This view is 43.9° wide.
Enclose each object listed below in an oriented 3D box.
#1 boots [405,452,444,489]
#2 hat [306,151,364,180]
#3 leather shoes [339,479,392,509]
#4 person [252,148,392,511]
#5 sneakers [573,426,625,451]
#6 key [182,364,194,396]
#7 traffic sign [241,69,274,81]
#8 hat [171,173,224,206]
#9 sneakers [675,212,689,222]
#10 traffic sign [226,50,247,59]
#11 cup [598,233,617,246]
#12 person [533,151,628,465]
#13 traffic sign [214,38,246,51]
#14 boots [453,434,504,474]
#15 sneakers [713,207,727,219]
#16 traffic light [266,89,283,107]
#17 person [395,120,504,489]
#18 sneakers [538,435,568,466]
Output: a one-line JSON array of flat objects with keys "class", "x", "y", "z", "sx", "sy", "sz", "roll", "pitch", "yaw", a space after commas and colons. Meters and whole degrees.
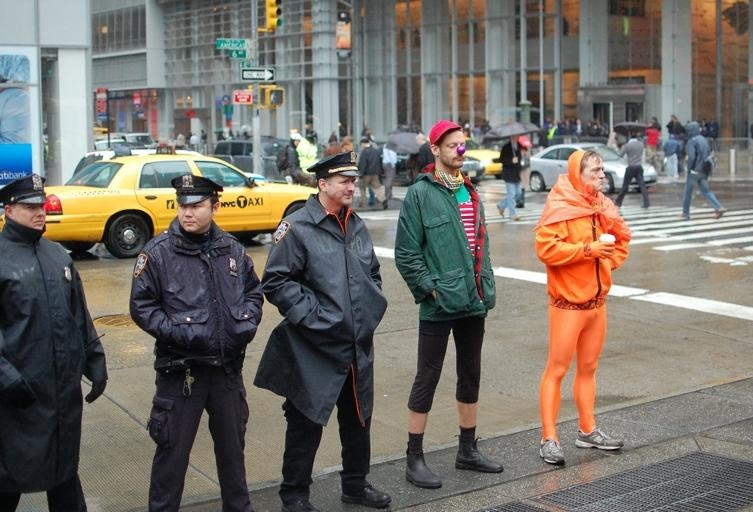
[{"class": "boots", "x": 0.391, "y": 1.778, "z": 7.857, "sx": 0.198, "sy": 0.266, "sz": 0.410, "roll": 2, "pitch": 2, "yaw": -39}, {"class": "hat", "x": -0.353, "y": -0.715, "z": 7.477, "sx": 0.273, "sy": 0.138, "sz": 0.249, "roll": 4, "pitch": 8, "yaw": 36}, {"class": "leather shoes", "x": -0.084, "y": 1.929, "z": 7.595, "sx": 0.383, "sy": 0.167, "sz": 0.184, "roll": 1, "pitch": 11, "yaw": 16}, {"class": "person", "x": -0.423, "y": 0.618, "z": 7.429, "sx": 1.025, "sy": 2.815, "sz": 0.577, "roll": -3, "pitch": 8, "yaw": -7}, {"class": "sneakers", "x": 2.002, "y": 1.639, "z": 8.375, "sx": 0.419, "sy": 0.200, "sz": 0.180, "roll": 3, "pitch": 1, "yaw": 5}, {"class": "key", "x": -1.414, "y": 0.942, "z": 7.022, "sx": 0.078, "sy": 0.214, "sz": 0.035, "roll": -2, "pitch": 8, "yaw": 1}, {"class": "traffic sign", "x": -3.216, "y": -4.869, "z": 25.330, "sx": 0.738, "sy": 0.347, "sz": 1.217, "roll": -2, "pitch": 9, "yaw": 2}, {"class": "hat", "x": -1.360, "y": -0.478, "z": 7.151, "sx": 0.250, "sy": 0.149, "sz": 0.289, "roll": -1, "pitch": 0, "yaw": 12}, {"class": "sneakers", "x": 7.059, "y": -0.871, "z": 21.480, "sx": 0.388, "sy": 0.173, "sz": 0.146, "roll": 6, "pitch": 11, "yaw": 30}, {"class": "traffic sign", "x": -3.744, "y": -5.440, "z": 25.396, "sx": 0.578, "sy": 0.190, "sz": 0.436, "roll": -7, "pitch": 10, "yaw": -30}, {"class": "cup", "x": 1.996, "y": -0.146, "z": 8.100, "sx": 0.131, "sy": 0.077, "sz": 0.193, "roll": 0, "pitch": 9, "yaw": 10}, {"class": "person", "x": 1.830, "y": 0.432, "z": 8.306, "sx": 0.908, "sy": 2.652, "sz": 0.675, "roll": -3, "pitch": 8, "yaw": -8}, {"class": "traffic sign", "x": -3.966, "y": -5.760, "z": 25.740, "sx": 0.802, "sy": 0.390, "sz": 1.305, "roll": -4, "pitch": 9, "yaw": -10}, {"class": "boots", "x": 0.852, "y": 1.717, "z": 8.096, "sx": 0.516, "sy": 0.363, "sz": 0.196, "roll": 1, "pitch": 4, "yaw": 7}, {"class": "sneakers", "x": 7.923, "y": -0.953, "z": 21.628, "sx": 0.210, "sy": 0.175, "sz": 0.490, "roll": 41, "pitch": -1, "yaw": 8}, {"class": "traffic light", "x": -2.935, "y": -4.504, "z": 26.913, "sx": 0.508, "sy": 0.530, "sz": 0.167, "roll": 1, "pitch": -2, "yaw": -33}, {"class": "person", "x": 0.607, "y": 0.380, "z": 7.933, "sx": 0.858, "sy": 2.981, "sz": 0.732, "roll": -3, "pitch": 8, "yaw": -7}, {"class": "sneakers", "x": 1.543, "y": 1.700, "z": 8.203, "sx": 0.223, "sy": 0.210, "sz": 0.228, "roll": -1, "pitch": 9, "yaw": 10}]
